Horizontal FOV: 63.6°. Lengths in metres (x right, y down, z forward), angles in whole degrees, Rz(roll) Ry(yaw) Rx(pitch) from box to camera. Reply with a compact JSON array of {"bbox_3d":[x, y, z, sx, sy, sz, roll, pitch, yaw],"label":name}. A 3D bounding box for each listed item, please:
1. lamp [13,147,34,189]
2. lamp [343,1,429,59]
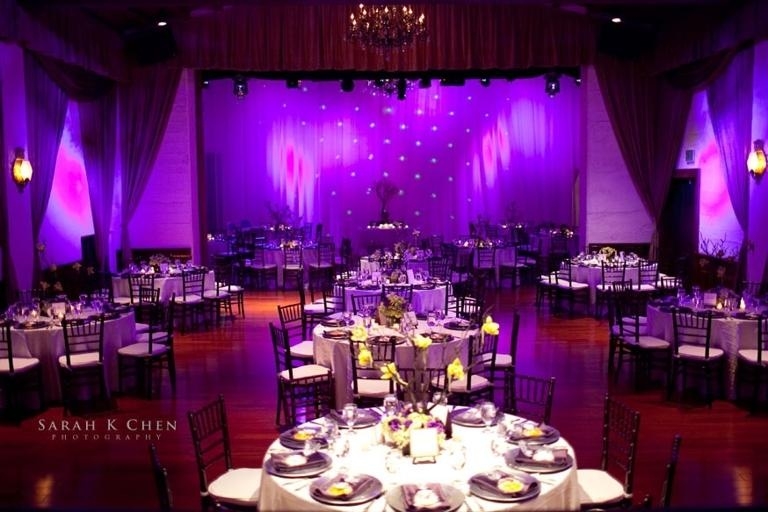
[{"bbox_3d":[-6.017,-1.448,10.277,0.105,0.688,0.306,-1,-1,23],"label":"lamp"},{"bbox_3d":[0.086,-3.804,10.252,0.927,0.718,1.001,8,24,12],"label":"lamp"}]
